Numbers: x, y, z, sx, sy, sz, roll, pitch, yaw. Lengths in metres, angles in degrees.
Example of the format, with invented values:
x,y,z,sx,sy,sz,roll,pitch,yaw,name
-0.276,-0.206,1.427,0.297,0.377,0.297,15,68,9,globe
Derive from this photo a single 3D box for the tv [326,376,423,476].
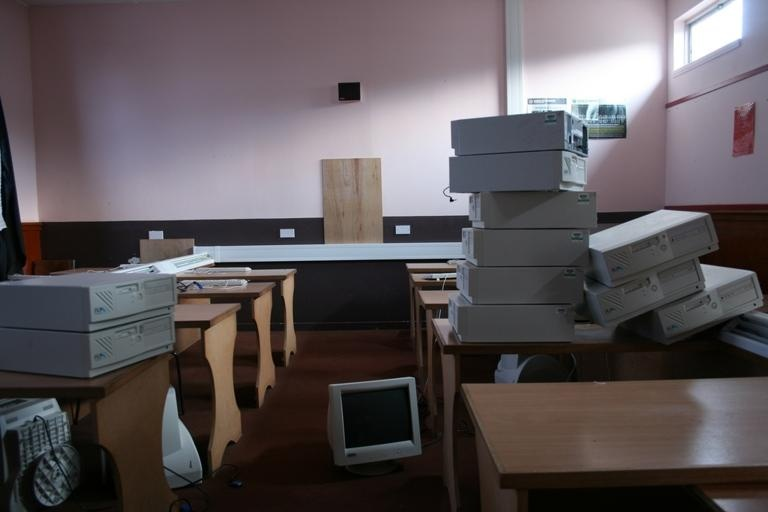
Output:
x,y,z,sx,sy,sz,roll,pitch,yaw,name
-0.109,1.062,4.154,0.774,0.708,0.577,-1,-6,-11,tv

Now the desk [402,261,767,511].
x,y,z,sx,sy,sz,roll,pitch,yaw,name
1.165,0.679,3.853,1.677,0.800,1.678,-1,5,-5,desk

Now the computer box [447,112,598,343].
x,y,z,sx,sy,sz,roll,pitch,yaw,name
0.769,-0.193,4.091,1.193,1.686,1.199,2,3,10,computer box
